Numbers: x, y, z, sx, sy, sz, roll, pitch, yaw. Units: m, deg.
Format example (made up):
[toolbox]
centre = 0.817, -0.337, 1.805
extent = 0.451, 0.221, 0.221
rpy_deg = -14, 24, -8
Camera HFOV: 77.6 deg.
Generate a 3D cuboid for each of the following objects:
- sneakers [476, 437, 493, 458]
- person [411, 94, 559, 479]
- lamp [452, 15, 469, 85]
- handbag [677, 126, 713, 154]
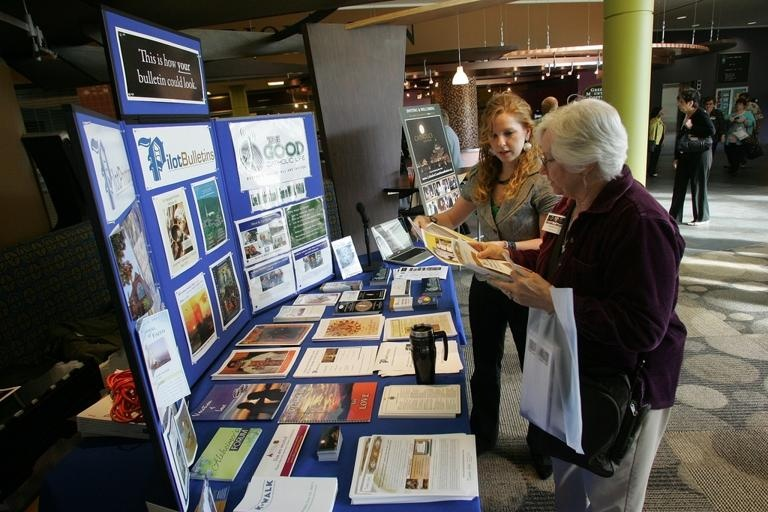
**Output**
[sneakers]
centre = 0.641, 1.162, 3.015
extent = 0.123, 0.047, 0.164
rpy_deg = 0, 15, 10
[person]
centre = 0.662, 0.180, 2.869
extent = 0.773, 2.072, 0.699
rpy_deg = 4, 17, 23
[lamp]
centre = 1.423, -3.826, 8.960
extent = 0.285, 1.153, 0.293
rpy_deg = 12, 27, 36
[handbag]
centre = 4.125, -1.526, 6.300
extent = 0.374, 0.354, 0.208
rpy_deg = 5, 8, 39
